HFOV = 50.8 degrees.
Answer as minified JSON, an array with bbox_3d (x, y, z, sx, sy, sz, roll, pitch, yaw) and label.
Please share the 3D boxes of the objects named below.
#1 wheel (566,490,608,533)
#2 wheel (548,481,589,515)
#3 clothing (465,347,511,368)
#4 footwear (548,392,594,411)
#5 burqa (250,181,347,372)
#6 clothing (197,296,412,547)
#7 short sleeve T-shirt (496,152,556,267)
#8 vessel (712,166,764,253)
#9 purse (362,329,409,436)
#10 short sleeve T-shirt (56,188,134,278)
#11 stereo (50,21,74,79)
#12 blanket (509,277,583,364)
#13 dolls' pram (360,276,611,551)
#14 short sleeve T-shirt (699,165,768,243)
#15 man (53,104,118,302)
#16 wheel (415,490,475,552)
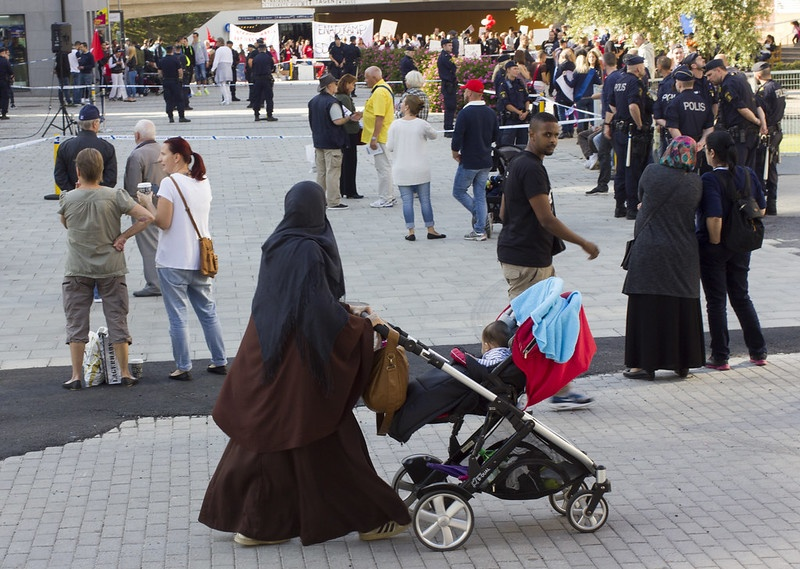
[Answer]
[{"bbox_3d":[1.279,1.539,5.745,0.325,0.293,0.146,5,-2,0],"label":"wheel"},{"bbox_3d":[1.164,1.450,5.768,0.316,0.318,0.107,-1,15,-4],"label":"wheel"},{"bbox_3d":[0.635,0.458,5.780,0.208,0.077,0.153,-22,23,-9],"label":"clothing"},{"bbox_3d":[1.527,1.032,7.524,0.375,0.155,0.140,-4,3,-4],"label":"footwear"},{"bbox_3d":[-0.662,-0.042,5.422,0.622,1.168,0.604,-5,15,-9],"label":"burqa"},{"bbox_3d":[-0.635,0.863,5.676,1.519,1.518,1.012,0,6,16],"label":"clothing"},{"bbox_3d":[1.287,-0.656,7.926,0.572,0.858,0.763,3,16,4],"label":"short sleeve T-shirt"},{"bbox_3d":[3.266,-0.704,8.051,0.465,0.743,0.449,15,22,35],"label":"vessel"},{"bbox_3d":[-0.085,0.612,5.444,0.299,0.699,0.678,4,13,-2],"label":"purse"},{"bbox_3d":[-2.821,-0.484,7.914,0.695,0.825,0.372,-6,15,-14],"label":"short sleeve T-shirt"},{"bbox_3d":[-10.069,-6.892,25.163,0.580,1.666,2.295,-8,15,-20],"label":"stereo"},{"bbox_3d":[1.141,0.160,5.927,0.448,0.293,0.582,-38,27,21],"label":"blanket"},{"bbox_3d":[0.594,0.841,5.960,1.697,1.563,1.092,-2,2,-3],"label":"dolls' pram"},{"bbox_3d":[3.174,-0.798,8.129,0.903,0.678,0.447,-10,15,-29],"label":"short sleeve T-shirt"},{"bbox_3d":[-3.880,-1.040,10.574,0.781,2.237,0.700,2,10,-7],"label":"man"},{"bbox_3d":[0.288,1.563,5.590,0.457,0.412,0.151,0,1,-4],"label":"wheel"}]
